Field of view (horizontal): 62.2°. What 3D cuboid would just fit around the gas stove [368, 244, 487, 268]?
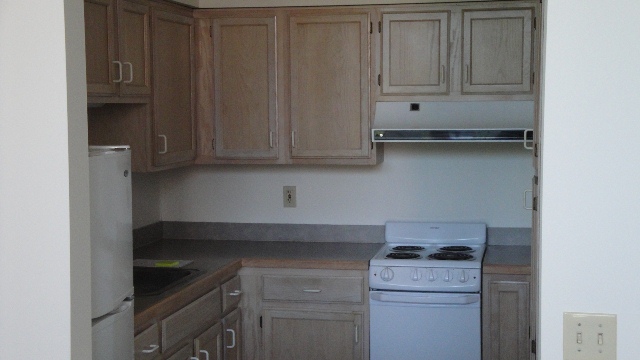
[{"bbox_3d":[0.808,0.563,3.974,0.781,0.067,0.860,-1,-1,10],"label":"gas stove"}]

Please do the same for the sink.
[{"bbox_3d":[-0.948,0.650,3.330,0.420,0.106,0.569,-3,10,-20],"label":"sink"}]

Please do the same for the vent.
[{"bbox_3d":[0.930,-0.420,3.758,1.091,0.280,0.271,2,10,13],"label":"vent"}]
